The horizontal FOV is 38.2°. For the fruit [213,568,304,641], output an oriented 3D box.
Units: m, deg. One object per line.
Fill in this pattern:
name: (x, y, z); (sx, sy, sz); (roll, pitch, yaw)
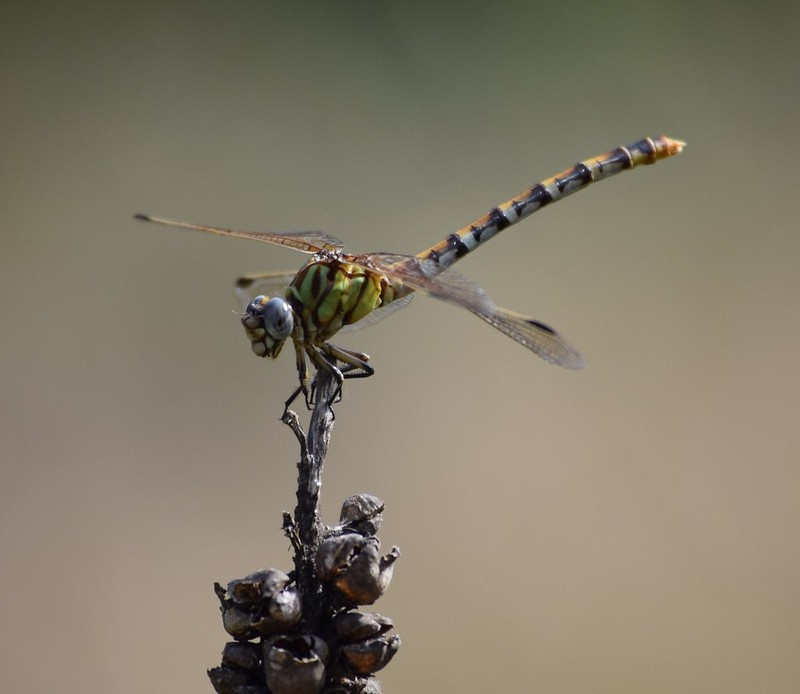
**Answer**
fruit: (-0.332, 0.611, 2.739); (0.204, 0.259, 0.183); (-14, -91, -13)

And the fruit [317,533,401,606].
fruit: (-0.104, 0.539, 2.722); (0.175, 0.162, 0.207); (-24, -34, 31)
